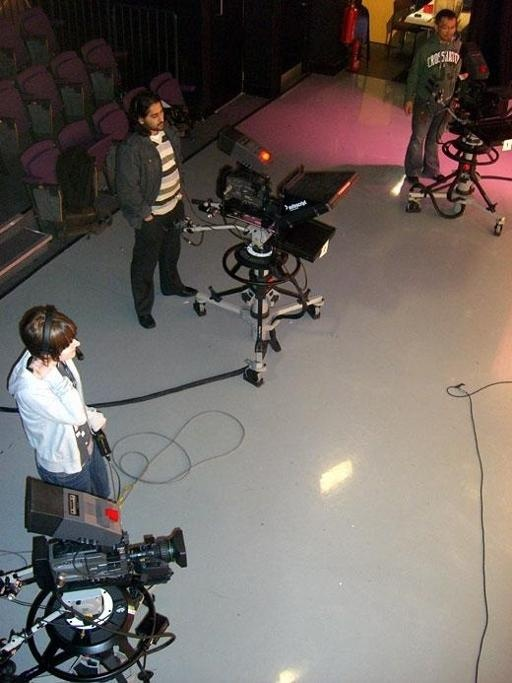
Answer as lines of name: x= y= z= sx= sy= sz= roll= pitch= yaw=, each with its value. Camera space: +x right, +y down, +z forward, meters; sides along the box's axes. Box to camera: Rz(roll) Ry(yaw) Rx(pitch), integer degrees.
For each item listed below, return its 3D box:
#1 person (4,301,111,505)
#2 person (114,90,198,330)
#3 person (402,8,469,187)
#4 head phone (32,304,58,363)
person: x=-0.842 y=0.293 z=2.229 sx=0.313 sy=1.061 sz=0.310 roll=7 pitch=63 yaw=-7
person: x=-0.667 y=-0.816 z=3.505 sx=0.454 sy=1.585 sz=0.510 roll=-4 pitch=37 yaw=-6
person: x=1.664 y=-2.236 z=5.029 sx=0.491 sy=1.515 sz=0.333 roll=-21 pitch=41 yaw=-26
head phone: x=-0.621 y=-0.019 z=1.565 sx=0.034 sy=0.135 sz=0.102 roll=4 pitch=1 yaw=-26
